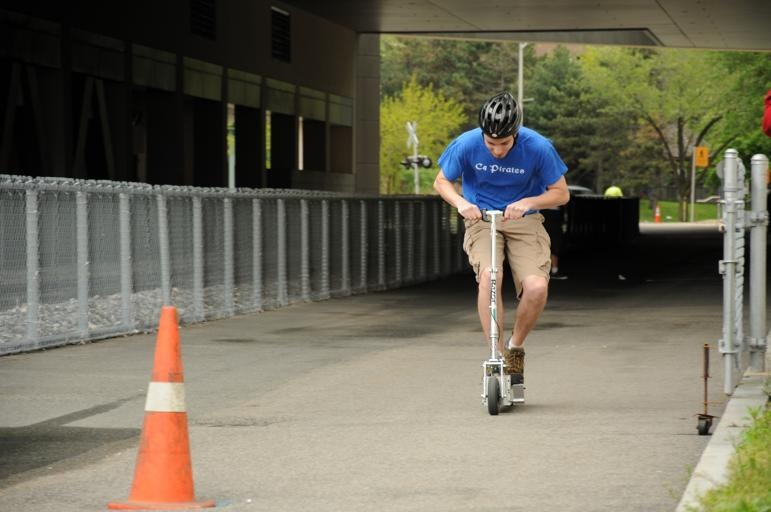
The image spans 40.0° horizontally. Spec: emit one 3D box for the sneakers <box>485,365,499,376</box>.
[{"bbox_3d":[0.910,0.977,8.984,0.152,0.117,0.102,0,4,4],"label":"sneakers"}]

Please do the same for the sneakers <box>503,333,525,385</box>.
[{"bbox_3d":[1.147,0.924,9.259,0.162,0.394,0.187,-3,3,8],"label":"sneakers"}]

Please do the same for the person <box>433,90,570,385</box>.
[{"bbox_3d":[1.046,-0.088,9.194,1.129,2.600,1.193,-3,4,7],"label":"person"}]
